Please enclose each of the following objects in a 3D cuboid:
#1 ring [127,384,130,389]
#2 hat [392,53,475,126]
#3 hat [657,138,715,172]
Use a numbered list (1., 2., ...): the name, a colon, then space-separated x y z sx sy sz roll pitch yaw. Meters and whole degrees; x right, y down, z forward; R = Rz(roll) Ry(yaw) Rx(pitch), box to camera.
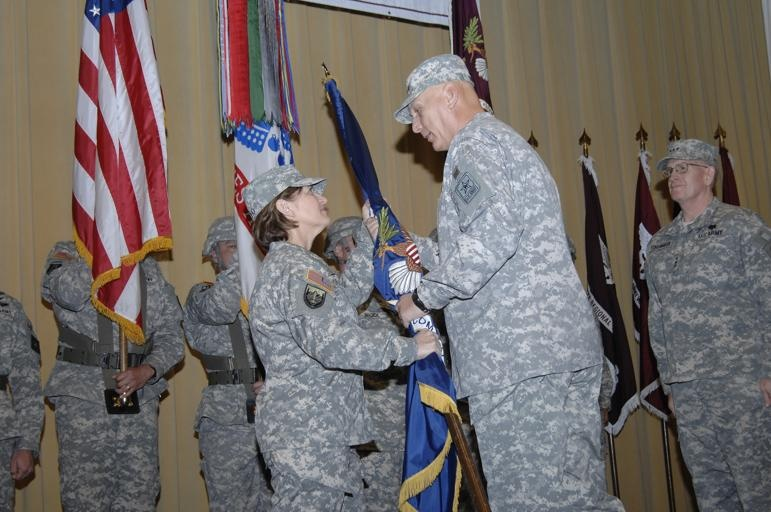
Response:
1. ring: -1.824 0.920 6.263 0.030 0.027 0.007 -2 7 -13
2. hat: 0.294 -1.048 5.651 0.470 0.243 0.372 -27 -21 18
3. hat: 2.418 -0.801 6.932 0.318 0.164 0.259 8 -6 11
